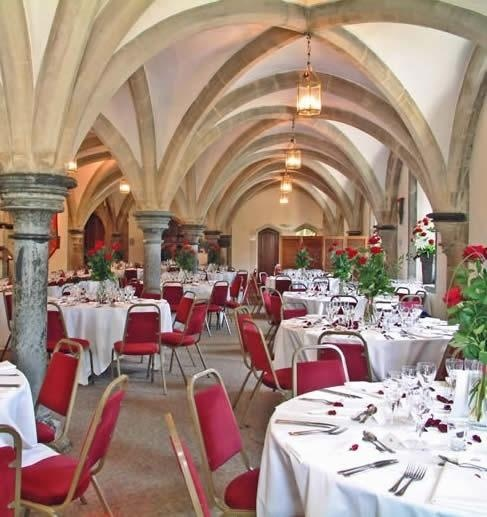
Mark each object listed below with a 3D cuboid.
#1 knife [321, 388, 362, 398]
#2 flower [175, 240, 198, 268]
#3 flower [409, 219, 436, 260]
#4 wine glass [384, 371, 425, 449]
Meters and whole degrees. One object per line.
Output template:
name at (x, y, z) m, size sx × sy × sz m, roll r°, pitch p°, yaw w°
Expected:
knife at (0.544, 0.726, 2.294) m, size 0.212 × 0.031 × 0.064 m, roll 1°, pitch 19°, yaw 24°
flower at (-1.637, -0.100, 11.985) m, size 0.548 × 0.831 × 2.550 m, roll 1°, pitch 0°, yaw -7°
flower at (4.192, -0.530, 9.609) m, size 0.511 × 1.021 × 2.378 m, roll 1°, pitch 0°, yaw 22°
wine glass at (0.675, 0.628, 1.729) m, size 0.153 × 0.358 × 0.204 m, roll 1°, pitch -11°, yaw -2°
